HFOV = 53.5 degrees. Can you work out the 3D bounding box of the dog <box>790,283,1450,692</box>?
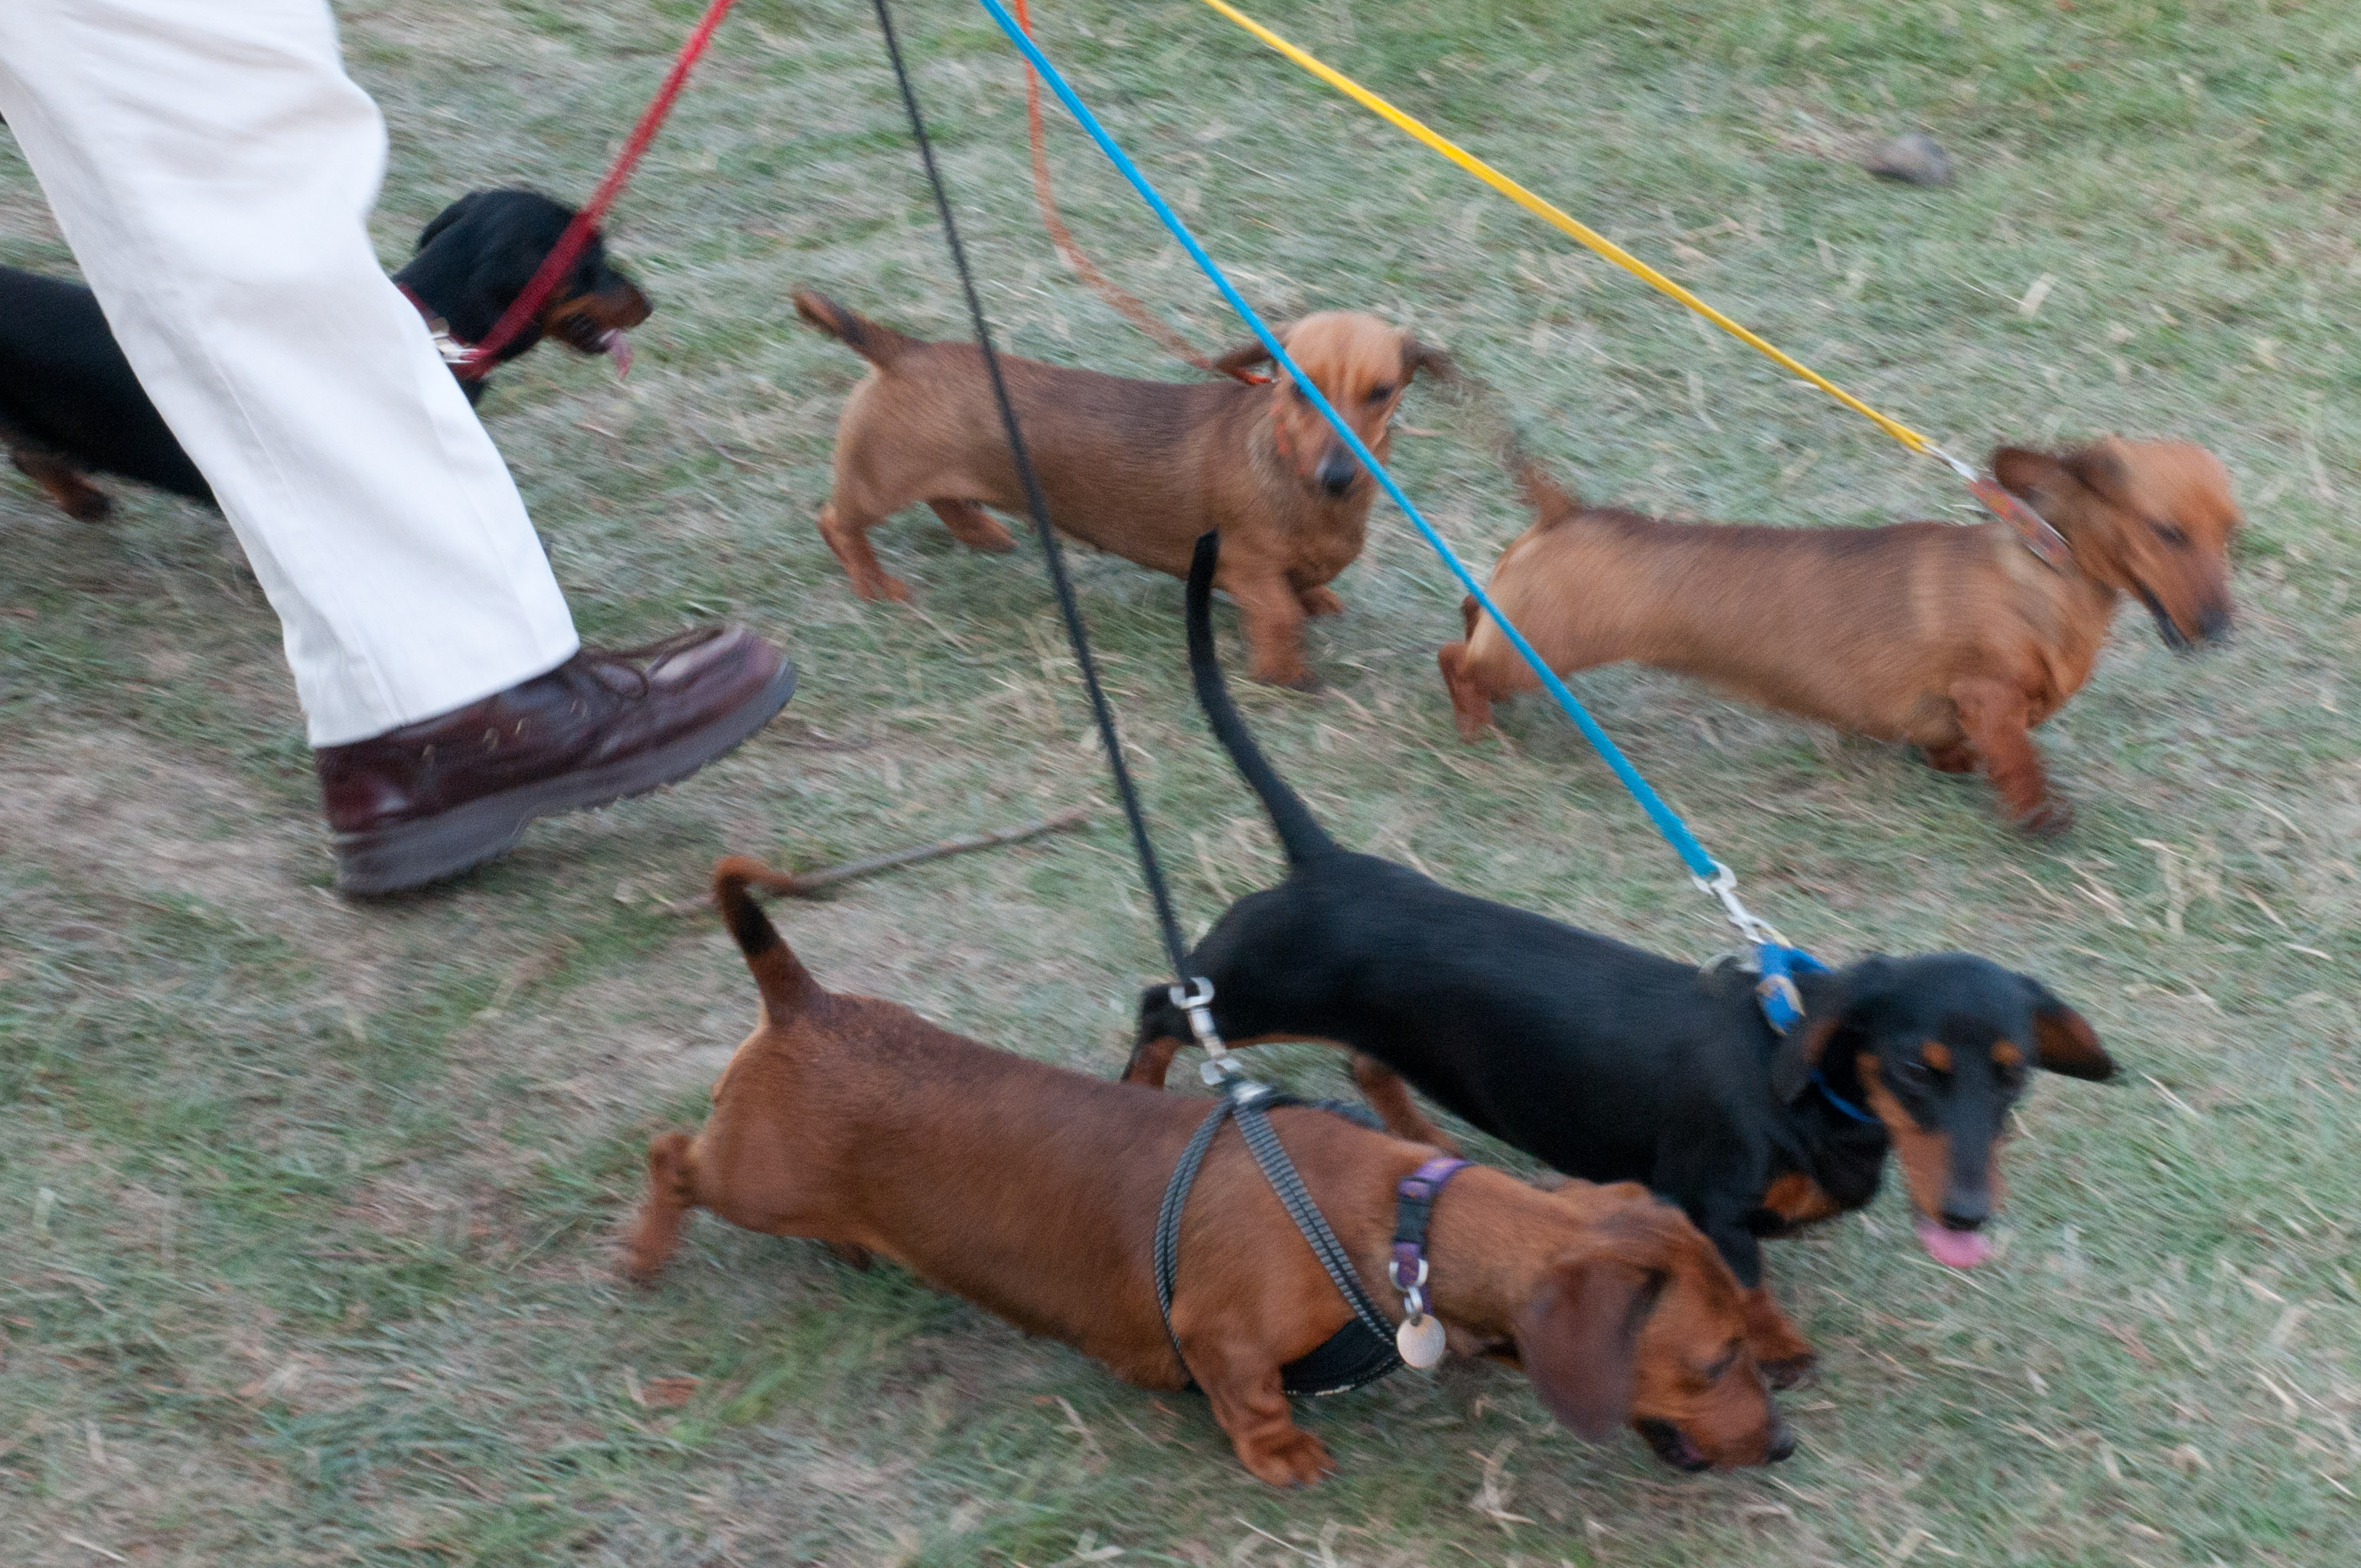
[{"bbox_3d":[-0.106,-0.906,6.691,2.280,1.073,0.643,16,42,23],"label":"dog"}]
